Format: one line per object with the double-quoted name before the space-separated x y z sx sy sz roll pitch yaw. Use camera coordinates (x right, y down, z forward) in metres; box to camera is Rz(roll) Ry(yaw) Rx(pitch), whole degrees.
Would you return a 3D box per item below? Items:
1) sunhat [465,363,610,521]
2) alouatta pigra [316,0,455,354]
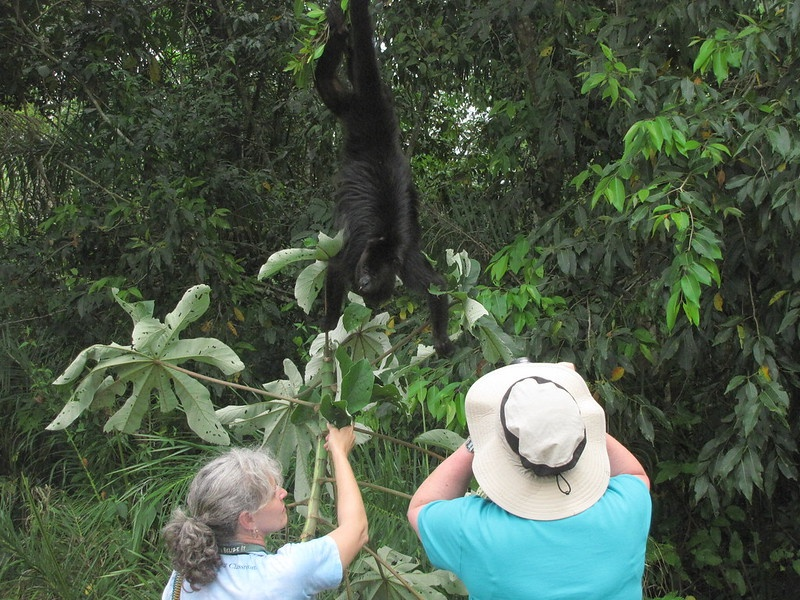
"sunhat" 0.690 0.625 4.466 0.653 0.267 0.925 -8 50 -4
"alouatta pigra" -0.122 -0.751 5.790 0.688 2.478 0.844 -2 3 -14
